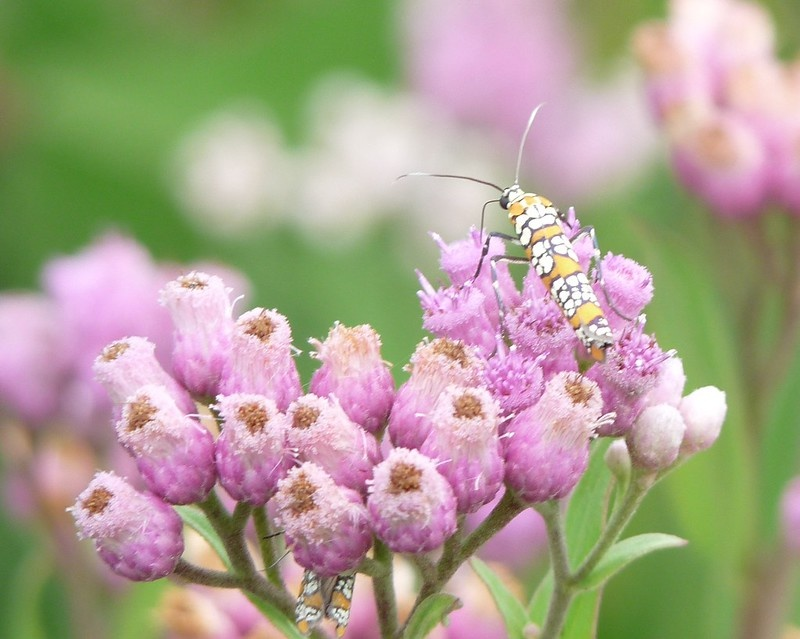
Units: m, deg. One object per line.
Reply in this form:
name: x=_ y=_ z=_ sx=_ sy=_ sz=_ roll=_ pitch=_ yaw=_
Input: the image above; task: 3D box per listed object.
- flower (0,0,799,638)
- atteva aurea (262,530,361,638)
flower: x=-0.104 y=-0.063 z=1.496 sx=0.930 sy=1.142 sz=0.220 roll=0 pitch=-4 yaw=9
atteva aurea: x=-0.072 y=0.245 z=0.972 sx=0.059 sy=0.085 sz=0.030 roll=2 pitch=-8 yaw=14
